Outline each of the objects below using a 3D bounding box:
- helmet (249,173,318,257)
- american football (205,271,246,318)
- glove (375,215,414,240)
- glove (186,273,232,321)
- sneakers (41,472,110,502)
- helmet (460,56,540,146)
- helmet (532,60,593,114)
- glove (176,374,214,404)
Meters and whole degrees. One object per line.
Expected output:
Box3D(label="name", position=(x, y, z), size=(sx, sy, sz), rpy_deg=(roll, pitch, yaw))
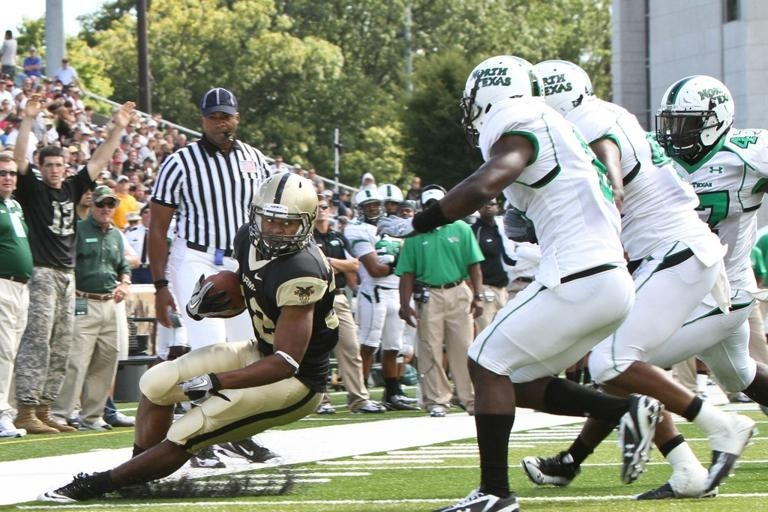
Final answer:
Box3D(label="helmet", position=(-0.628, -0.246, 6.673), size=(0.474, 0.427, 0.531), rpy_deg=(3, 10, 13))
Box3D(label="american football", position=(-0.998, 0.242, 7.025), size=(0.248, 0.231, 0.318), rpy_deg=(-12, 5, -32))
Box3D(label="glove", position=(0.064, -0.170, 6.394), size=(0.187, 0.063, 0.140), rpy_deg=(9, -6, 24))
Box3D(label="glove", position=(-1.129, 0.282, 6.926), size=(0.270, 0.269, 0.124), rpy_deg=(43, 8, 7))
Box3D(label="sneakers", position=(-1.865, 1.434, 6.639), size=(0.507, 0.162, 0.167), rpy_deg=(1, -3, -2))
Box3D(label="helmet", position=(0.688, -1.009, 6.793), size=(0.622, 0.528, 0.460), rpy_deg=(4, 6, 21))
Box3D(label="helmet", position=(1.127, -1.112, 7.037), size=(0.463, 0.297, 0.267), rpy_deg=(-1, 0, -29))
Box3D(label="glove", position=(-1.145, 0.825, 6.605), size=(0.183, 0.203, 0.261), rpy_deg=(-1, 0, -14))
